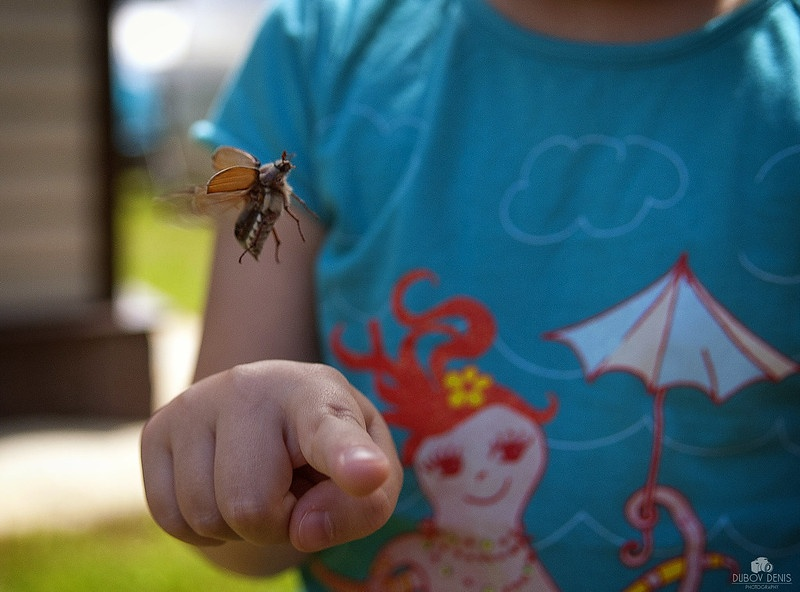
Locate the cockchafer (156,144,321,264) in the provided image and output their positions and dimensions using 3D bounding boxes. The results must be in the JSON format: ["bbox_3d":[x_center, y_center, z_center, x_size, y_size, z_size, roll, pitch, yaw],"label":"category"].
[{"bbox_3d":[-0.332,-0.203,1.875,0.265,0.114,0.250,-17,13,-1],"label":"cockchafer"}]
